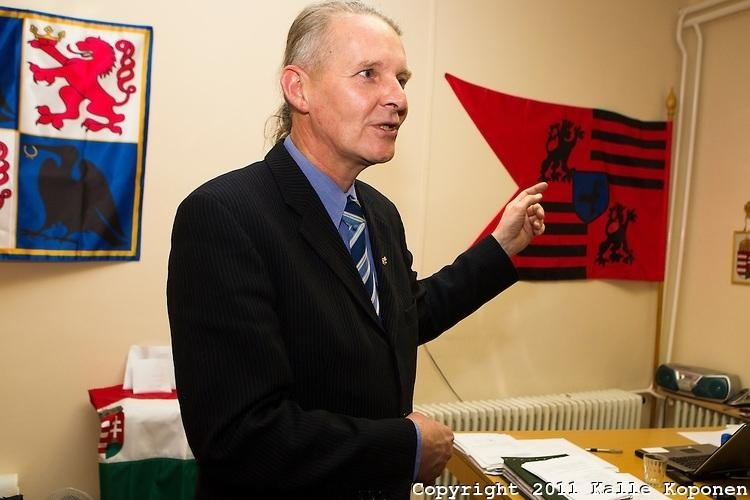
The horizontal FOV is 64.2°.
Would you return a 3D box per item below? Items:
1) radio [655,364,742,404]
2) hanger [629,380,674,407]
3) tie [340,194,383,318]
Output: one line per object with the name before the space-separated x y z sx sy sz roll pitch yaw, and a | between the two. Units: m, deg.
radio | 2.095 0.844 3.898 0.266 0.203 0.414 0 5 -31
hanger | 1.963 1.068 4.282 0.204 0.116 0.283 -3 15 -23
tie | -0.063 -0.014 1.975 0.085 0.471 0.070 15 -38 -37
